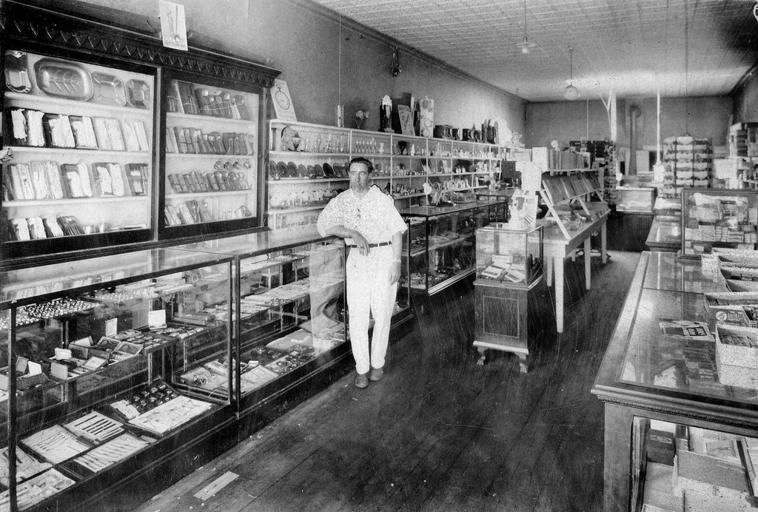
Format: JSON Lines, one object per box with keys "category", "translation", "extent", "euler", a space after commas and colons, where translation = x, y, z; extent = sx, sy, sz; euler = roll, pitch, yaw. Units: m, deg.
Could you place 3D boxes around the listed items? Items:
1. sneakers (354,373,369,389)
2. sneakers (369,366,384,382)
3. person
{"category": "sneakers", "translation": [-0.167, 1.177, 5.153], "extent": [0.136, 0.110, 0.180], "euler": [0, 14, -1]}
{"category": "sneakers", "translation": [-0.032, 1.156, 5.250], "extent": [0.111, 0.092, 0.216], "euler": [-1, -6, 1]}
{"category": "person", "translation": [-0.095, 0.061, 5.429], "extent": [0.849, 2.027, 0.534], "euler": [-6, 35, 5]}
